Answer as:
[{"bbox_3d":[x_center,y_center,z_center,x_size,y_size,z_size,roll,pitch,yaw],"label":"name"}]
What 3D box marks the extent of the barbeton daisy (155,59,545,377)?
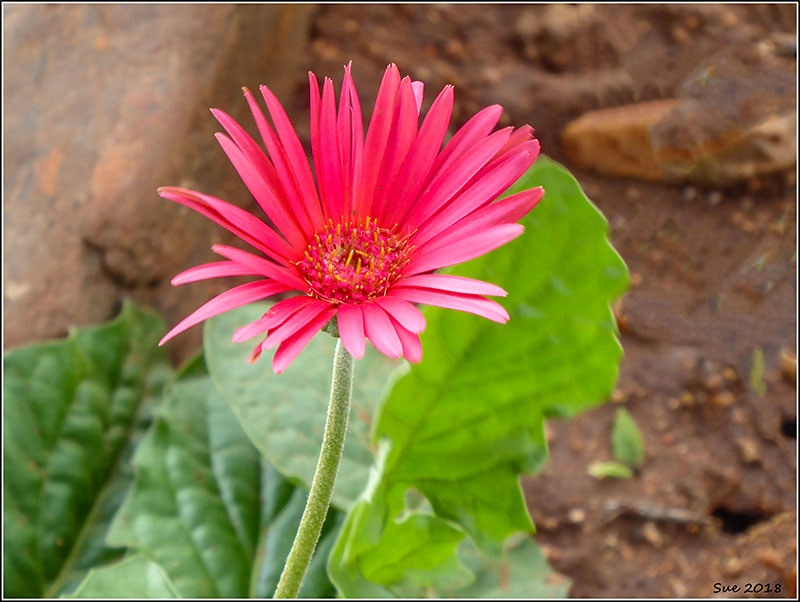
[{"bbox_3d":[-0.109,-0.199,1.697,0.829,0.774,0.317,-9,77,20],"label":"barbeton daisy"}]
